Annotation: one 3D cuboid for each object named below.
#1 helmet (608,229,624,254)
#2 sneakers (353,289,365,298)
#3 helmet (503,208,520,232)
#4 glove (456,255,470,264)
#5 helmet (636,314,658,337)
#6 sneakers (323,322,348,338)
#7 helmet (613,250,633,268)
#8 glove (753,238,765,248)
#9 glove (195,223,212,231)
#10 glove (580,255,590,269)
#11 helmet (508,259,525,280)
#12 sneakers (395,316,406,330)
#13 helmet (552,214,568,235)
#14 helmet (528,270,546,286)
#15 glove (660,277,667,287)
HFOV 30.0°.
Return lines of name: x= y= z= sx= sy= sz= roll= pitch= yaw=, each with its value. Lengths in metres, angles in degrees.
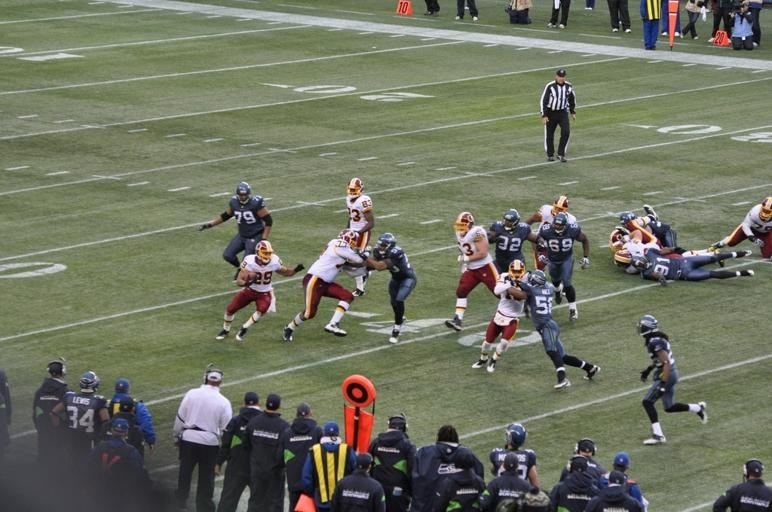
helmet: x=4.617 y=-0.307 z=28.803 sx=0.415 sy=0.416 sz=0.255 roll=21 pitch=-9 yaw=-43
sneakers: x=-0.498 y=0.717 z=27.548 sx=0.223 sy=0.152 sz=0.489 roll=-1 pitch=-3 yaw=13
helmet: x=2.357 y=-0.671 z=26.692 sx=0.411 sy=0.371 sz=0.403 roll=12 pitch=-11 yaw=8
glove: x=1.460 y=0.057 z=26.818 sx=0.258 sy=0.077 sz=0.274 roll=1 pitch=3 yaw=7
helmet: x=4.249 y=1.112 z=23.409 sx=0.479 sy=0.281 sz=0.313 roll=5 pitch=8 yaw=13
sneakers: x=-0.815 y=1.333 z=25.958 sx=0.530 sy=0.208 sz=0.159 roll=17 pitch=36 yaw=-18
helmet: x=4.769 y=0.044 z=28.527 sx=0.490 sy=0.257 sz=0.401 roll=-3 pitch=-6 yaw=28
glove: x=7.559 y=-0.267 z=29.103 sx=0.179 sy=0.071 sz=0.217 roll=-13 pitch=-32 yaw=35
glove: x=-3.589 y=-0.577 z=28.571 sx=0.177 sy=0.106 sz=0.514 roll=-13 pitch=6 yaw=-39
glove: x=3.922 y=0.136 z=27.999 sx=0.100 sy=0.254 sz=0.173 roll=16 pitch=21 yaw=-35
helmet: x=2.297 y=0.220 z=25.102 sx=0.300 sy=0.321 sz=0.515 roll=-3 pitch=9 yaw=5
sneakers: x=0.315 y=1.184 z=25.688 sx=0.134 sy=0.297 sz=0.155 roll=21 pitch=-8 yaw=-11
helmet: x=3.284 y=-0.598 z=26.771 sx=0.344 sy=0.307 sz=0.317 roll=7 pitch=-17 yaw=11
helmet: x=2.591 y=0.393 z=24.799 sx=0.277 sy=0.266 sz=0.247 roll=24 pitch=-41 yaw=-8
glove: x=5.442 y=0.513 z=28.116 sx=0.159 sy=0.162 sz=0.072 roll=-21 pitch=-31 yaw=23
